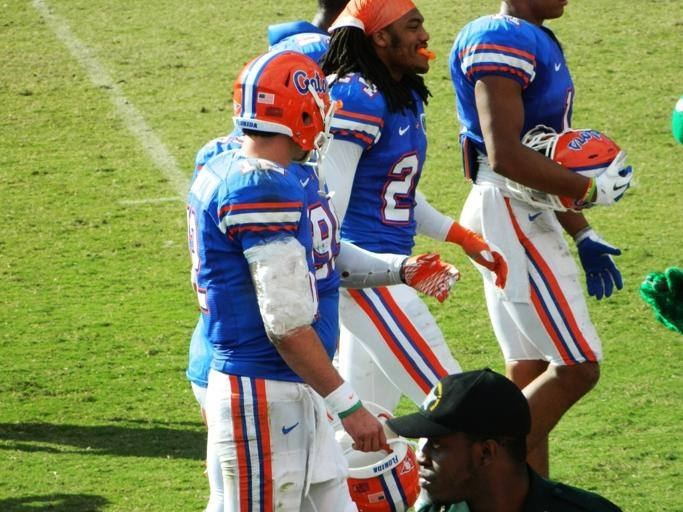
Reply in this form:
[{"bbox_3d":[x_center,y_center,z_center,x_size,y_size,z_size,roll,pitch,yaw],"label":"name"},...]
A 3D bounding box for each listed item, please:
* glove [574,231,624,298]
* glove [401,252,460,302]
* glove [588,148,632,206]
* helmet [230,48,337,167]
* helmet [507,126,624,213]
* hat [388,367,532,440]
[{"bbox_3d":[1.450,0.053,7.840,0.312,0.362,0.114,-16,20,51],"label":"glove"},{"bbox_3d":[0.490,0.133,7.392,0.314,0.138,0.226,29,71,-5],"label":"glove"},{"bbox_3d":[1.459,-0.394,7.451,0.143,0.245,0.315,26,50,30],"label":"glove"},{"bbox_3d":[-0.297,-0.739,6.789,0.440,0.436,0.367,-1,42,5],"label":"helmet"},{"bbox_3d":[1.218,-0.460,7.493,0.609,0.305,0.385,12,25,-1],"label":"helmet"},{"bbox_3d":[0.580,0.687,6.410,0.559,0.231,0.315,3,0,4],"label":"hat"}]
